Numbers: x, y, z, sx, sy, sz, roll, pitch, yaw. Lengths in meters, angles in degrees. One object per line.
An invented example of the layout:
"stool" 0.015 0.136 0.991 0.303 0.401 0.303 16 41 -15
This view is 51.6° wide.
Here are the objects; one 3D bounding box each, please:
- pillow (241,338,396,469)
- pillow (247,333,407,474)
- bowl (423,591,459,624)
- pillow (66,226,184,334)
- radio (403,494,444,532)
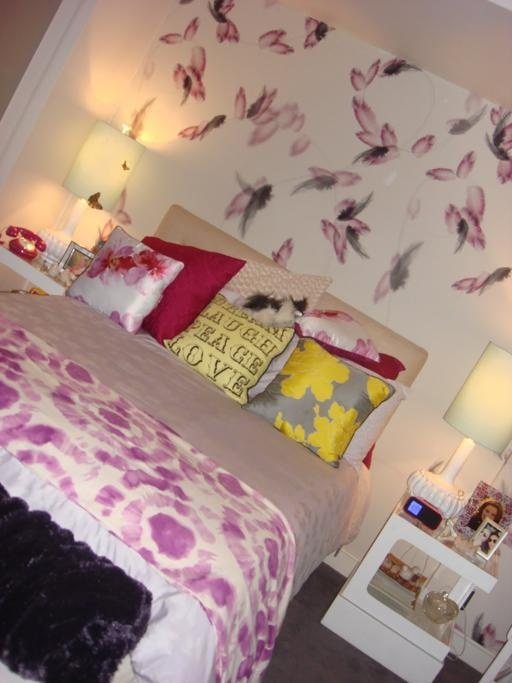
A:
"pillow" 0.226 0.208 2.002 0.573 0.492 0.130 0 -20 15
"pillow" 0.237 0.202 2.000 0.469 0.508 0.132 47 -26 5
"bowl" 0.662 0.960 1.911 0.093 0.057 0.122 12 24 17
"pillow" -0.467 -0.201 2.178 0.446 0.390 0.132 31 -7 28
"radio" 0.599 0.620 1.921 0.143 0.098 0.033 35 -11 25
